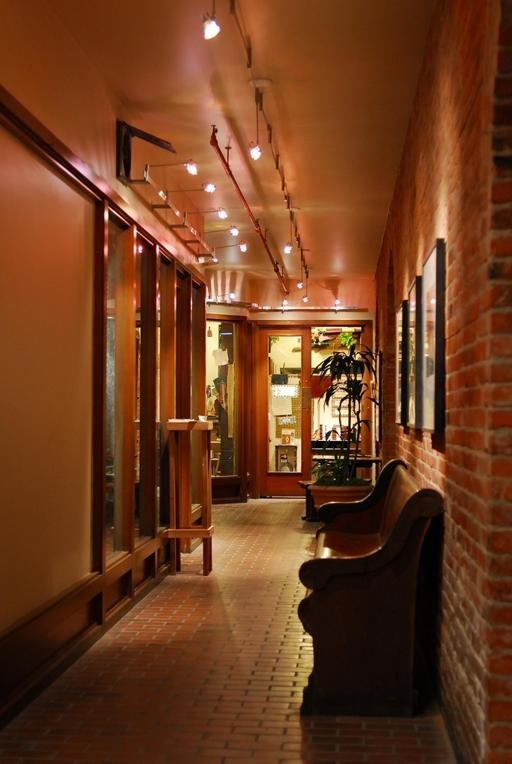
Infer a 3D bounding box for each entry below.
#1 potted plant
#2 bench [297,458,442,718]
[{"bbox_3d":[1.191,0.568,6.687,0.752,2.130,0.737,1,2,-44],"label":"potted plant"},{"bbox_3d":[0.576,0.971,2.837,0.496,0.990,1.407,2,-4,11],"label":"bench"}]
